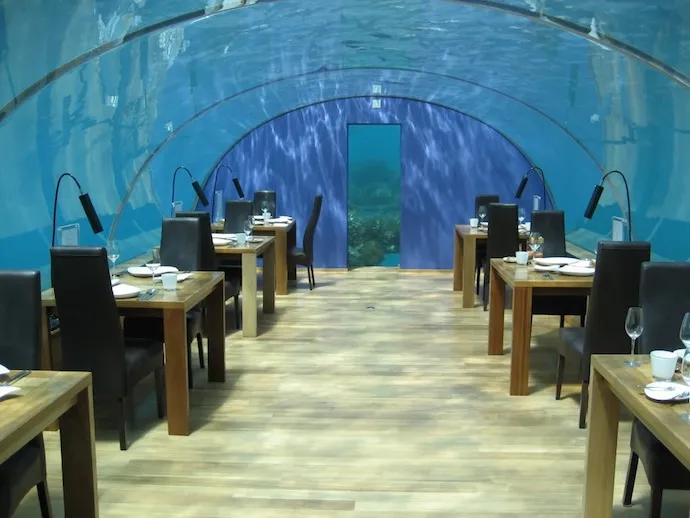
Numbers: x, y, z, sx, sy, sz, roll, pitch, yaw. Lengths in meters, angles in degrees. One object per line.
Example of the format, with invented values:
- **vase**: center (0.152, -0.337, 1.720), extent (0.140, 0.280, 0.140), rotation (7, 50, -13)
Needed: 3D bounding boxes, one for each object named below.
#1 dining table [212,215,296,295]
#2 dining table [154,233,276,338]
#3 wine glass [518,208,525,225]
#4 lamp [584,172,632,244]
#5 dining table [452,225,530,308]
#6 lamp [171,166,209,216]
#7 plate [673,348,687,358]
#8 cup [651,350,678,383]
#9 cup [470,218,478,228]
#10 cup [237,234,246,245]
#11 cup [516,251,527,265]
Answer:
- **dining table**: center (-1.141, -0.165, 7.711), extent (0.986, 0.965, 0.995), rotation (2, 13, 11)
- **dining table**: center (-1.170, 0.240, 6.036), extent (0.862, 0.825, 0.875), rotation (2, 11, 12)
- **wine glass**: center (2.263, -0.548, 7.362), extent (0.070, 0.196, 0.164), rotation (-1, 8, 15)
- **lamp**: center (2.511, -0.522, 5.442), extent (0.385, 0.627, 1.196), rotation (0, 8, 26)
- **dining table**: center (1.649, 0.026, 7.131), extent (0.943, 0.922, 0.933), rotation (-1, 10, -5)
- **lamp**: center (-2.126, -0.978, 7.674), extent (0.427, 0.497, 1.333), rotation (-6, 8, -16)
- **plate**: center (1.546, 0.430, 2.644), extent (0.068, 0.012, 0.070), rotation (0, 18, 22)
- **cup**: center (1.398, 0.471, 2.543), extent (0.122, 0.109, 0.133), rotation (0, -3, 0)
- **cup**: center (1.649, -0.463, 7.409), extent (0.137, 0.136, 0.110), rotation (1, 1, -5)
- **cup**: center (-1.065, -0.201, 5.873), extent (0.086, 0.109, 0.109), rotation (1, -4, 6)
- **cup**: center (1.482, -0.005, 4.799), extent (0.102, 0.088, 0.090), rotation (-3, 5, -16)
